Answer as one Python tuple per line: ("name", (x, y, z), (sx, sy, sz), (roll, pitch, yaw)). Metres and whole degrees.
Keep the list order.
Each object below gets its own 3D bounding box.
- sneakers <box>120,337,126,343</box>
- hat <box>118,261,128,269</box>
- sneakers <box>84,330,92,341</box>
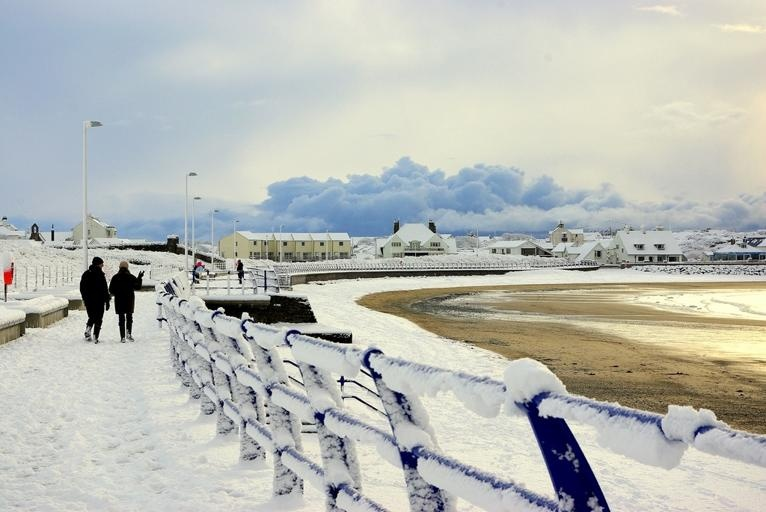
("sneakers", (-5.938, 1.897, 13.913), (0.111, 0.120, 0.109), (-6, 6, -24))
("hat", (-6.149, 0.215, 14.371), (0.196, 0.256, 0.239), (3, 5, 5))
("sneakers", (-6.813, 1.819, 14.069), (0.135, 0.171, 0.182), (-2, 36, -11))
